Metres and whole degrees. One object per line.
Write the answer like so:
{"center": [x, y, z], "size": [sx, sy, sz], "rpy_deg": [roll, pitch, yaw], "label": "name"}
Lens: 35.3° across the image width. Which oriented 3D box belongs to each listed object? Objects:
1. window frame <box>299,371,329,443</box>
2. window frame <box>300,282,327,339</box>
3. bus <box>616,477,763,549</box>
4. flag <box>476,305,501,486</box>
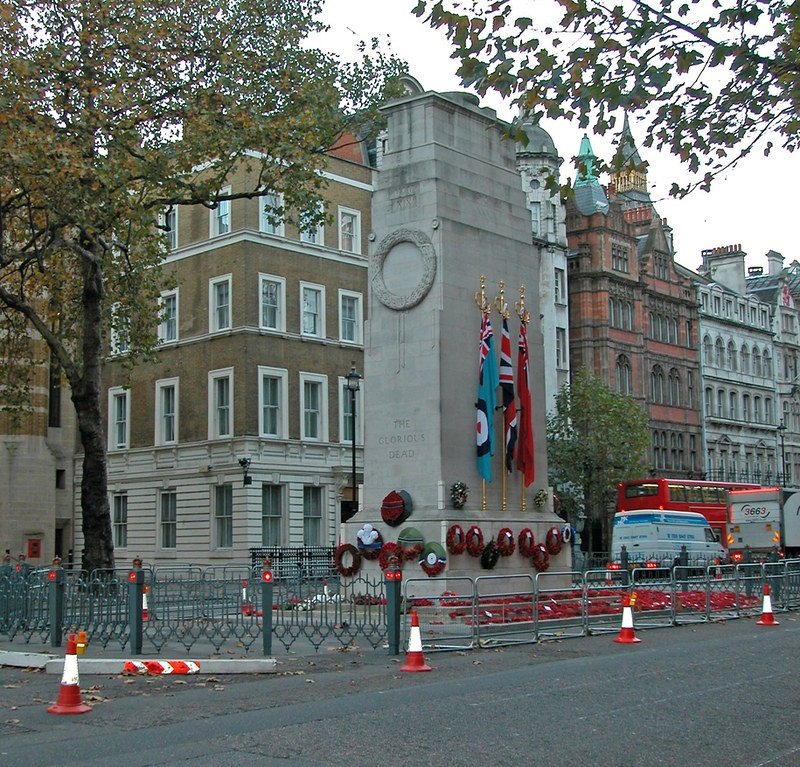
{"center": [-3.691, 0.962, 51.759], "size": [0.250, 2.677, 1.546], "rpy_deg": [-5, -8, 37], "label": "window frame"}
{"center": [-3.665, -3.063, 52.248], "size": [0.339, 2.893, 2.211], "rpy_deg": [-5, -8, 34], "label": "window frame"}
{"center": [13.100, 5.926, 55.107], "size": [7.332, 3.573, 2.199], "rpy_deg": [7, -14, -41], "label": "bus"}
{"center": [1.995, 0.249, 28.912], "size": [0.462, 3.958, 0.845], "rpy_deg": [-7, -14, 21], "label": "flag"}
